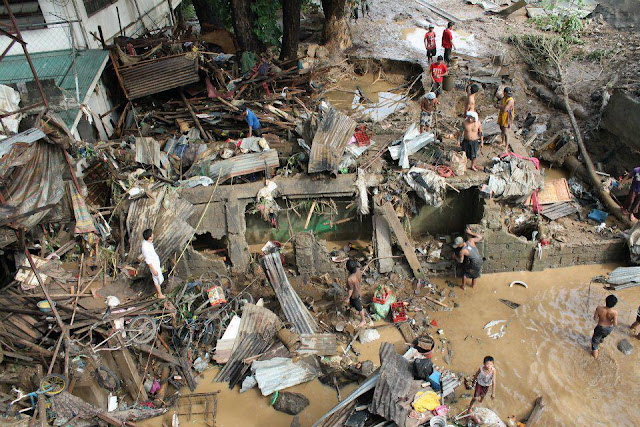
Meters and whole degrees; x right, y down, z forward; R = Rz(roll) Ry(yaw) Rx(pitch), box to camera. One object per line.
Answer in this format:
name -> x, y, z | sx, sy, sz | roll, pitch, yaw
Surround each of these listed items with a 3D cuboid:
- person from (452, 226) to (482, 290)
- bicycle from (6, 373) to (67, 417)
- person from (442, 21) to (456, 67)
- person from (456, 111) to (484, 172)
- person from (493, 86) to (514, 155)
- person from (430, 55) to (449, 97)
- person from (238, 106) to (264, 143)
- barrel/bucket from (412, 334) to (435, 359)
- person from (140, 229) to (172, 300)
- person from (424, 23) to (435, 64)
person -> 4.885, 1.490, 16.519 | 0.849, 1.767, 0.989 | 1, 38, 4
bicycle -> -7.693, 4.880, 13.550 | 1.427, 0.219, 0.915 | -20, 25, -29
person -> 5.620, -7.413, 22.037 | 0.515, 1.370, 1.130 | 7, 39, 12
person -> 5.124, -2.417, 17.025 | 0.674, 2.051, 0.568 | 7, 31, 19
person -> 6.523, -3.213, 17.485 | 0.529, 2.226, 0.957 | -6, 38, -5
person -> 4.748, -5.556, 20.220 | 0.637, 1.707, 0.895 | 9, 39, 14
person -> -2.581, -3.203, 18.368 | 0.540, 1.420, 0.807 | -13, 76, 0
barrel/bucket -> 3.144, 3.977, 15.103 | 0.627, 0.622, 0.660 | -1, 57, 1
person -> -5.211, 1.573, 15.676 | 0.681, 2.068, 0.911 | -37, 67, -25
person -> 4.816, -7.349, 21.903 | 0.454, 1.480, 0.759 | 12, 40, 18
